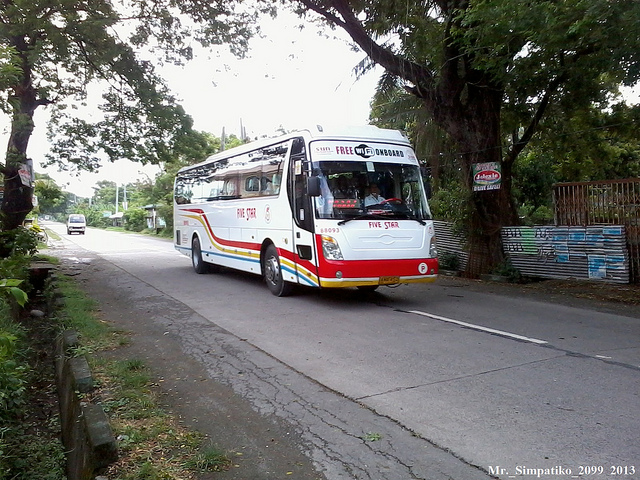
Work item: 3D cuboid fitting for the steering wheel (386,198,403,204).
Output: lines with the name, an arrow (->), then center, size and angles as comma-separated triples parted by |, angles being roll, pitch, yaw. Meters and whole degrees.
steering wheel -> 1.675, -0.883, 9.087 | 0.418, 0.126, 0.024 | -4, 2, -19

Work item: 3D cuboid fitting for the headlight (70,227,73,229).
headlight -> -33.201, -1.669, 54.050 | 0.456, 0.244, 0.472 | 2, 1, -21

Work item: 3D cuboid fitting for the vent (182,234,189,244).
vent -> -5.445, -0.063, 16.372 | 0.208, 0.372, 0.381 | -6, 5, -31

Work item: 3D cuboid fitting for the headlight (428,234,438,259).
headlight -> 2.625, 0.141, 9.435 | 0.153, 0.527, 0.870 | -3, 2, 20
